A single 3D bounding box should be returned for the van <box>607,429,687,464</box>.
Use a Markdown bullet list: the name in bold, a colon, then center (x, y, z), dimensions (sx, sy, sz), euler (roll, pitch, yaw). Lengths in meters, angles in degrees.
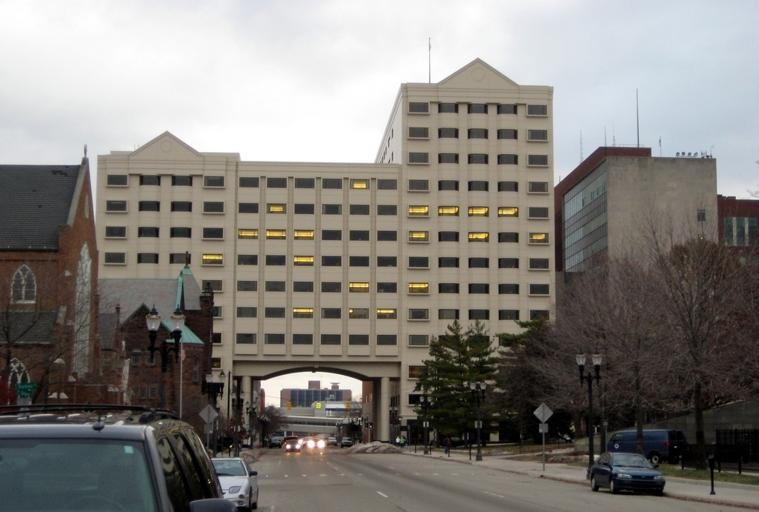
- **van**: center (21.693, 15.406, 105.308), dimensions (5.586, 2.651, 3.404), euler (0, -7, 26)
